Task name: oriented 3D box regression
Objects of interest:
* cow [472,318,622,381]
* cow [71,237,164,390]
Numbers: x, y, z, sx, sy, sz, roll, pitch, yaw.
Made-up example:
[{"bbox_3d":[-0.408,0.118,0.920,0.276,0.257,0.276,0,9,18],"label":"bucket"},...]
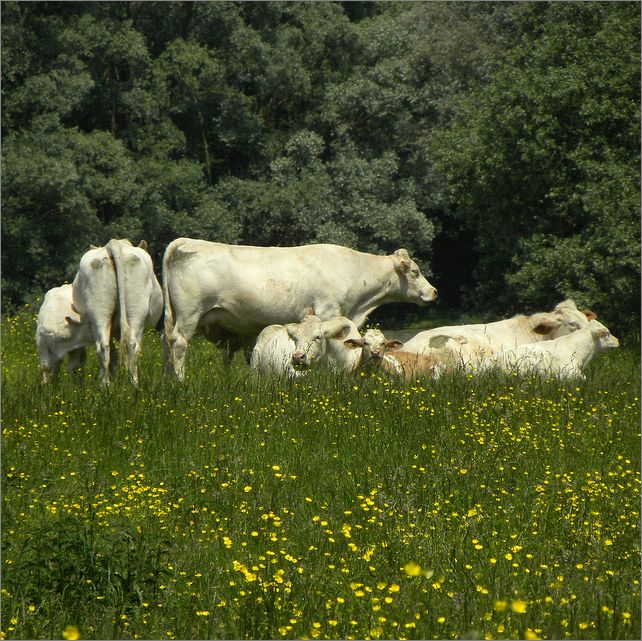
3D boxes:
[{"bbox_3d":[3.219,0.595,18.799,2.211,0.646,1.014,-17,18,-29],"label":"cow"},{"bbox_3d":[-2.987,0.064,20.321,1.135,2.201,3.292,-4,-5,-11],"label":"cow"}]
